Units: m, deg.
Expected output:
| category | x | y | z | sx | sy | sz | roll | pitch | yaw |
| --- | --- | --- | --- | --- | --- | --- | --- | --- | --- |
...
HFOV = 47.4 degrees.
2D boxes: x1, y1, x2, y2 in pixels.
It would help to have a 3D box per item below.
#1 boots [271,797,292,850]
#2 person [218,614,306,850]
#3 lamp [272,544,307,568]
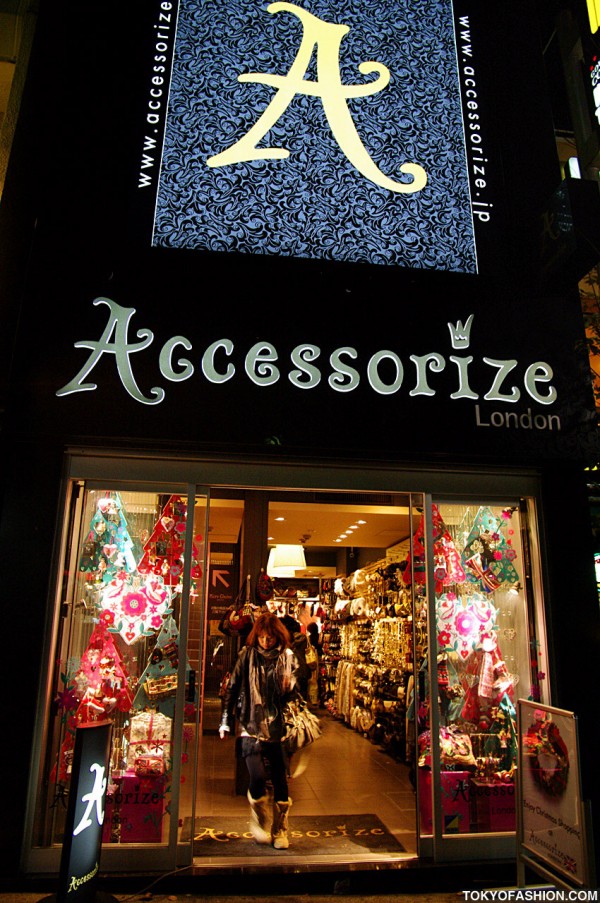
| category | x | y | z | sx | sy | sz | roll | pitch | yaw |
| --- | --- | --- | --- | --- | --- | --- | --- | --- | --- |
| boots | -0.104 | 1.987 | 3.645 | 0.094 | 0.219 | 0.167 | 2 | -15 | 0 |
| person | -0.226 | 1.527 | 3.824 | 0.423 | 1.194 | 0.302 | 2 | -15 | 0 |
| lamp | -0.136 | 1.096 | 7.174 | 0.356 | 0.256 | 0.312 | 4 | -15 | -8 |
